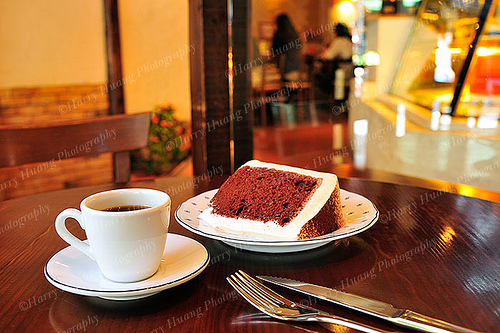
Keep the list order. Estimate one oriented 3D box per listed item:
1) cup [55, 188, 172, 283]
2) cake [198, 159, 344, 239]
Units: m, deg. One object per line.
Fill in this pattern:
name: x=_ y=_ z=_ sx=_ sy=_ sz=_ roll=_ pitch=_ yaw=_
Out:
cup: x=-0.225 y=0.118 z=0.672 sx=0.183 sy=0.125 sz=0.141 roll=-3 pitch=12 yaw=-24
cake: x=0.034 y=0.063 z=0.800 sx=0.265 sy=0.089 sz=0.236 roll=12 pitch=23 yaw=43
